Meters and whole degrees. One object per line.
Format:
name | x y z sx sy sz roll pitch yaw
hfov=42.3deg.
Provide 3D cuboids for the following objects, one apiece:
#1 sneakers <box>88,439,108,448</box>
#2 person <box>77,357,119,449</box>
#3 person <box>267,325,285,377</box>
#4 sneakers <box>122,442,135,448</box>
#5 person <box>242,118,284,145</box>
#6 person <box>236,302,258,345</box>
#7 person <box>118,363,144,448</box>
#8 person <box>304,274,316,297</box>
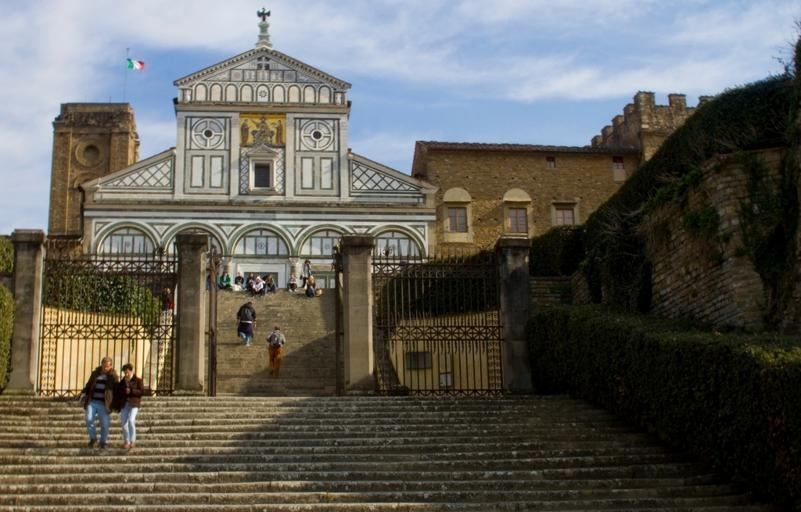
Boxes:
sneakers | -6.284 3.868 21.464 0.428 0.172 0.223 -1 -1 23
person | -6.289 3.076 21.591 0.691 1.759 0.422 -1 -1 15
person | -3.425 2.629 28.516 0.395 1.311 0.725 0 -1 -8
sneakers | -5.589 3.887 21.340 0.203 0.087 0.115 -3 3 -37
person | -6.255 -5.625 47.059 1.914 1.312 0.346 0 -1 -9
person | -4.653 2.014 31.138 0.485 1.228 1.549 0 -1 -7
person | -5.610 3.094 21.509 0.443 1.707 0.471 0 -1 -16
person | -3.419 1.152 38.882 0.498 0.902 0.608 -4 -20 6
